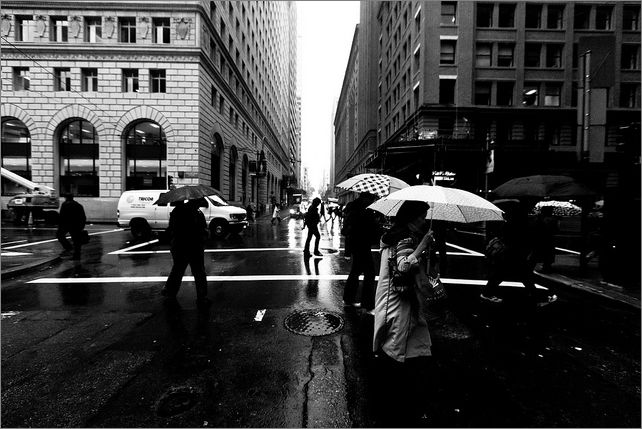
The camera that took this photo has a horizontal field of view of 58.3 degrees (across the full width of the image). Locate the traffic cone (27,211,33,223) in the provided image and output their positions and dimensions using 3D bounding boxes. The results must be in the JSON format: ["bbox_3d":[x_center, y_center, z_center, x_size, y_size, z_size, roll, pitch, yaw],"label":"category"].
[{"bbox_3d":[-21.021,0.268,41.476,0.326,0.807,1.066,-4,7,-27],"label":"traffic cone"}]

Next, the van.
[{"bbox_3d":[-8.986,-0.037,36.689,6.144,2.694,3.591,-2,2,-5],"label":"van"}]
